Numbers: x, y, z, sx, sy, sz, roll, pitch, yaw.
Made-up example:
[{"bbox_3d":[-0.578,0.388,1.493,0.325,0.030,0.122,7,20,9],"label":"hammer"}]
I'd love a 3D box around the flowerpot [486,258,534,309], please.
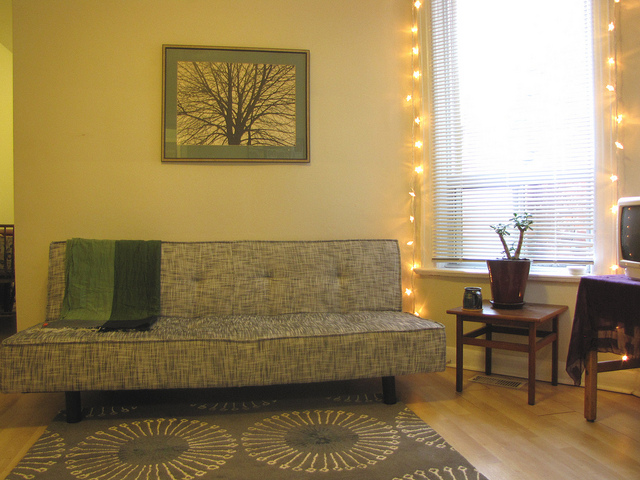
[{"bbox_3d":[1.274,0.311,3.554,0.318,0.327,0.315,3,-5,-22],"label":"flowerpot"}]

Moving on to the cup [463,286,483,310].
[{"bbox_3d":[1.010,0.385,3.462,0.126,0.142,0.120,0,10,0],"label":"cup"}]

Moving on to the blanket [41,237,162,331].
[{"bbox_3d":[-1.387,0.285,3.294,0.672,0.505,0.469,0,4,-7],"label":"blanket"}]

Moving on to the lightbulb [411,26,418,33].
[{"bbox_3d":[0.719,-1.618,4.032,0.042,0.041,0.043,1,2,41],"label":"lightbulb"}]

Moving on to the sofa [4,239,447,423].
[{"bbox_3d":[-0.504,0.512,3.350,2.446,0.890,0.817,-1,10,-7],"label":"sofa"}]

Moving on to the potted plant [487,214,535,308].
[{"bbox_3d":[1.289,0.142,3.561,0.334,0.648,0.313,2,-4,22],"label":"potted plant"}]
